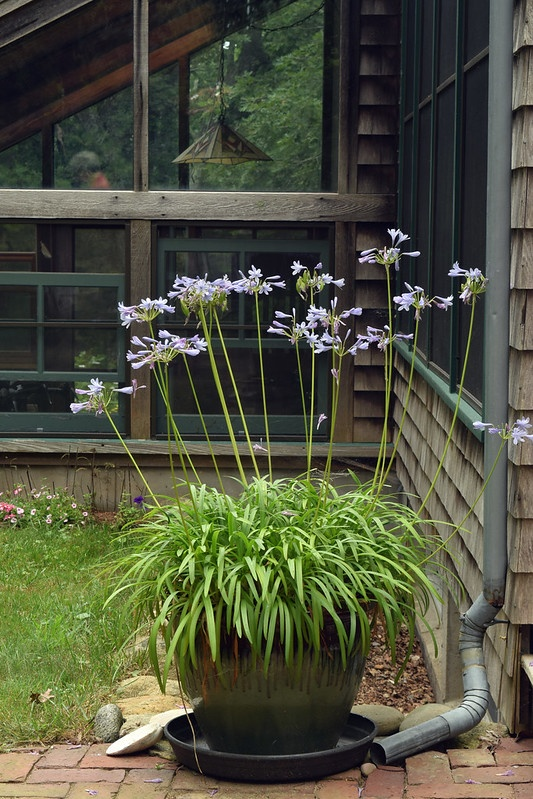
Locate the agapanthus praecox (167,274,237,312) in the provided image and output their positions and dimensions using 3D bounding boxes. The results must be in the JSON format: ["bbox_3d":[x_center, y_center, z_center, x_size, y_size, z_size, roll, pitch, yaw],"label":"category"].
[{"bbox_3d":[-0.172,-0.289,2.571,0.167,0.115,0.181,-6,7,-20],"label":"agapanthus praecox"}]

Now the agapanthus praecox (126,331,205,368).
[{"bbox_3d":[-0.406,-0.200,3.739,0.285,0.148,0.343,-3,-1,-2],"label":"agapanthus praecox"}]

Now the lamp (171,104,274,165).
[{"bbox_3d":[-0.293,-1.651,5.968,0.601,0.356,0.665,-3,13,-8],"label":"lamp"}]
